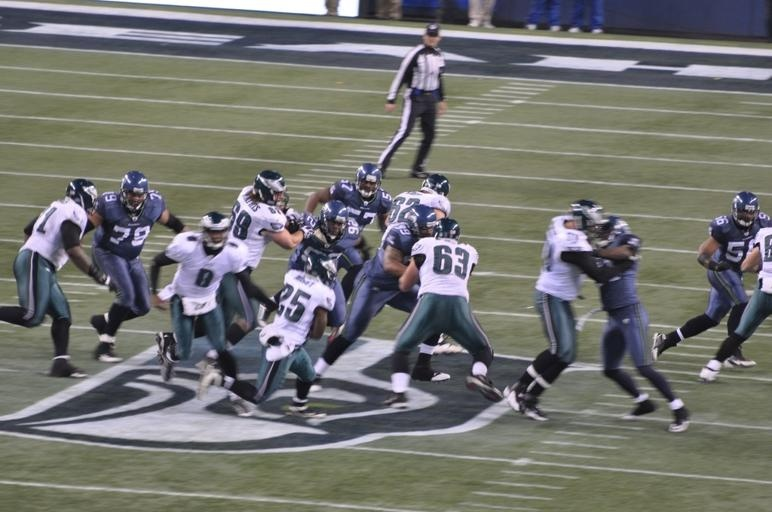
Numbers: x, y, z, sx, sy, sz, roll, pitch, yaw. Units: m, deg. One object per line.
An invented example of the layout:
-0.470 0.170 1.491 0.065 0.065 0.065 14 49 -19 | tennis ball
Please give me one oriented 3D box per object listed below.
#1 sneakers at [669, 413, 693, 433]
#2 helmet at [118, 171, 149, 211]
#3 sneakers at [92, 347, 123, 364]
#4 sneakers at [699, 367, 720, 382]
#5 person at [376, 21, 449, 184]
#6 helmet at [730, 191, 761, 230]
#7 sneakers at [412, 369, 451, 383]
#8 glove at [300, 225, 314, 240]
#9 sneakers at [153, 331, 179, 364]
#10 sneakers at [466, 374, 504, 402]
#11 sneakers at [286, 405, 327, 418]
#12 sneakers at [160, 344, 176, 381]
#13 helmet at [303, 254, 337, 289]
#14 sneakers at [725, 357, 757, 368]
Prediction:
2.777 1.585 12.703 0.325 0.188 0.126 0 18 11 | sneakers
-2.583 -0.691 13.782 0.346 0.288 0.382 8 10 -15 | helmet
-2.768 1.030 13.772 0.413 0.165 0.111 2 6 -3 | sneakers
3.280 1.215 13.766 0.239 0.111 0.159 4 -1 26 | sneakers
0.384 -2.143 18.642 0.554 2.143 0.930 15 14 39 | person
3.757 -0.525 14.154 0.415 0.348 0.372 2 47 6 | helmet
0.445 1.222 13.637 0.456 0.126 0.125 -1 5 -2 | sneakers
-0.821 -0.252 14.077 0.156 0.153 0.064 9 51 -11 | glove
-2.133 0.888 13.047 0.177 0.289 0.159 0 27 -7 | sneakers
0.958 1.289 12.975 0.371 0.294 0.227 4 9 2 | sneakers
-0.756 1.504 12.897 0.411 0.099 0.119 0 6 1 | sneakers
-2.126 1.056 13.079 0.183 0.345 0.168 -6 39 -19 | sneakers
-0.620 0.128 12.872 0.463 0.226 0.353 4 -5 -7 | helmet
3.688 1.118 14.047 0.410 0.106 0.104 -1 12 3 | sneakers
